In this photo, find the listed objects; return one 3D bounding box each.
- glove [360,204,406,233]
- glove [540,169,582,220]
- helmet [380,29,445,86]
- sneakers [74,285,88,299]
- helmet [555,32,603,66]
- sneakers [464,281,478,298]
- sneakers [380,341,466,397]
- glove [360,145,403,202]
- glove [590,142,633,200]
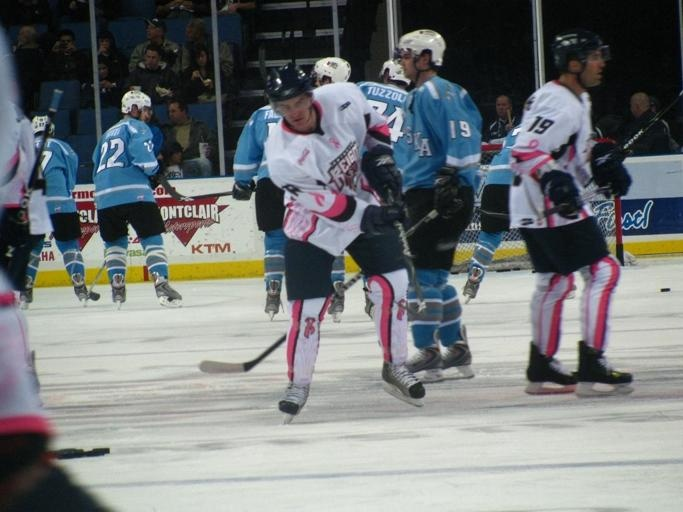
[{"bbox_3d":[0.210,-0.189,6.317,0.170,0.066,0.165,-8,18,17],"label":"glove"},{"bbox_3d":[1.156,-0.320,6.453,0.176,0.256,0.085,-35,-8,19],"label":"glove"},{"bbox_3d":[0.482,-1.199,7.391,0.470,0.406,0.331,2,35,5],"label":"helmet"},{"bbox_3d":[-2.181,0.309,10.362,0.098,0.120,0.072,-24,-9,-25],"label":"sneakers"},{"bbox_3d":[1.248,-1.102,6.563,0.239,0.197,0.189,-11,4,7],"label":"helmet"},{"bbox_3d":[0.979,0.259,9.276,0.109,0.139,0.080,21,-7,5],"label":"sneakers"},{"bbox_3d":[0.498,0.632,6.815,0.626,0.268,0.192,3,6,-31],"label":"sneakers"},{"bbox_3d":[0.217,-0.414,6.415,0.191,0.306,0.114,-27,0,10],"label":"glove"},{"bbox_3d":[1.474,-0.468,6.770,0.239,0.291,0.100,-6,4,15],"label":"glove"}]
